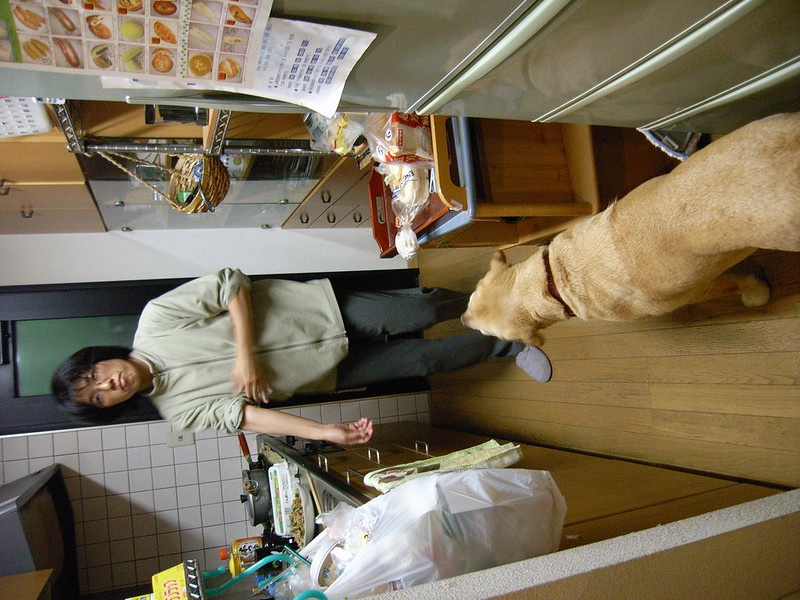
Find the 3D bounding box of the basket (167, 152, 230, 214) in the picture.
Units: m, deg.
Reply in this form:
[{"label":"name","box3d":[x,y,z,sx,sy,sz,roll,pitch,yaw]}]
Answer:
[{"label":"basket","box3d":[-0.865,-0.513,2.401,0.172,0.220,0.233,-7,55,10]}]

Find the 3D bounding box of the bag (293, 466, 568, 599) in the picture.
[{"label":"bag","box3d":[0.106,0.590,1.509,0.668,0.354,0.191,-13,74,-19]}]

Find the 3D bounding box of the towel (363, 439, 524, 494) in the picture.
[{"label":"towel","box3d":[0.152,0.557,1.821,0.412,0.234,0.069,-8,84,-27]}]

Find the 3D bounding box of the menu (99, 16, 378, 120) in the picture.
[{"label":"menu","box3d":[-0.329,-0.512,1.150,0.408,0.279,0.047,6,71,-31]}]

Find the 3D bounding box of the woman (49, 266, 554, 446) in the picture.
[{"label":"woman","box3d":[-0.344,0.243,2.166,1.847,0.496,0.558,-10,69,-2]}]

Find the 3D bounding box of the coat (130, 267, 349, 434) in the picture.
[{"label":"coat","box3d":[-0.655,0.182,2.155,0.970,0.382,0.578,4,91,-46]}]
